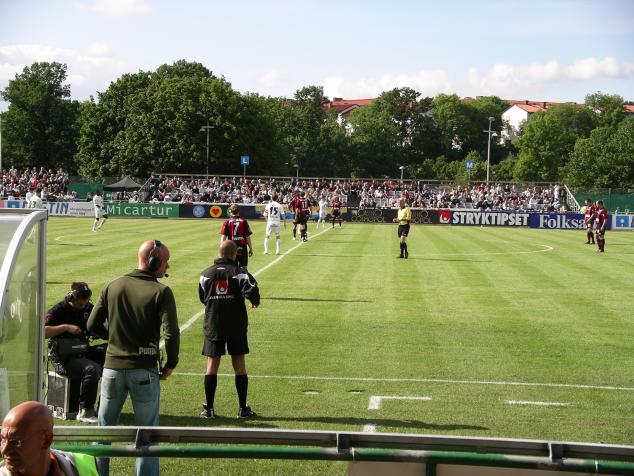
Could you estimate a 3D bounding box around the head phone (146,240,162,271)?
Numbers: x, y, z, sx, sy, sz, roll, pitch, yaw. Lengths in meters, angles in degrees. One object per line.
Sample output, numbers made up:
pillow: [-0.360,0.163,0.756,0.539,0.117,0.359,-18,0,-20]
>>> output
head phone: [-1.800,0.205,9.102,0.115,0.321,0.324,0,1,-4]

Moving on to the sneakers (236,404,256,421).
sneakers: [-0.886,2.185,10.427,0.245,0.149,0.212,-1,7,-21]

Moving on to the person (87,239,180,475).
person: [-2.015,1.072,9.091,0.988,2.070,0.664,1,6,-3]

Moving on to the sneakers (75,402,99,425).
sneakers: [-2.864,2.210,10.278,0.383,0.189,0.154,1,0,10]

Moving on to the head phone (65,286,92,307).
head phone: [-2.991,0.739,10.406,0.215,0.276,0.288,-12,15,-38]

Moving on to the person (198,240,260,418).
person: [-1.118,1.140,10.524,0.751,2.178,0.605,0,6,-7]

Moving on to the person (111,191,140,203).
person: [-11.628,-2.549,50.390,0.834,0.608,0.867,-2,-7,12]

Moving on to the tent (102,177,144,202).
tent: [-11.992,-3.125,51.334,1.834,0.844,1.858,-8,12,-25]

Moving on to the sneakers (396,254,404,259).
sneakers: [2.500,0.531,24.671,0.096,0.123,0.297,-3,-5,13]

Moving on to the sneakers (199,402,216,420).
sneakers: [-1.369,2.175,10.353,0.107,0.123,0.259,0,6,-16]
